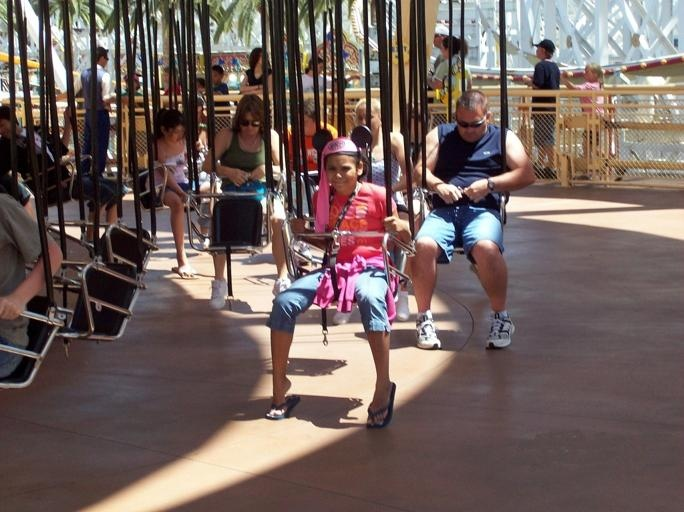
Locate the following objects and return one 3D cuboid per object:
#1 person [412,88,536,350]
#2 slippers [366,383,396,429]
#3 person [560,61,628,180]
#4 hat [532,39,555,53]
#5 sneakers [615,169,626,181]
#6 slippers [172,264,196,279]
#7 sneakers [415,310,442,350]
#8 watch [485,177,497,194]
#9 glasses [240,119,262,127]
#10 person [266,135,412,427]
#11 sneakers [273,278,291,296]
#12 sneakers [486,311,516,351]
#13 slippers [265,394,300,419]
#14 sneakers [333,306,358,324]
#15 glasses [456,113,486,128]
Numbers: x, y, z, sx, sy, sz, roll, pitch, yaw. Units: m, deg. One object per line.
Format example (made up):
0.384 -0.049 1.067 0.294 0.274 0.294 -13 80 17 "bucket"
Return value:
0.827 -0.272 3.907 0.735 1.494 0.891 1 11 12 "person"
0.170 0.696 2.789 0.080 0.242 0.050 0 -16 34 "slippers"
4.235 -2.227 10.393 0.785 1.907 0.797 0 11 4 "person"
3.346 -3.413 10.188 0.231 0.231 0.361 1 12 10 "hat"
4.570 -1.314 10.244 0.135 0.166 0.162 20 51 20 "sneakers"
-1.412 0.123 5.529 0.140 0.104 0.305 -12 16 -40 "slippers"
0.527 0.434 3.762 0.141 0.196 0.227 0 12 8 "sneakers"
0.921 -0.435 3.840 0.046 0.081 0.061 1 12 11 "watch"
-0.684 -0.985 4.641 0.164 0.057 0.080 -5 13 -15 "glasses"
-0.016 0.068 3.050 0.660 1.252 0.714 1 11 12 "person"
-0.437 0.223 4.584 0.118 0.134 0.283 -2 -7 -7 "sneakers"
0.924 0.451 3.677 0.094 0.143 0.289 -4 10 18 "sneakers"
-0.276 0.700 2.967 0.063 0.073 0.177 1 9 27 "slippers"
0.003 0.404 4.229 0.072 0.163 0.231 4 -3 25 "sneakers"
0.811 -0.834 3.893 0.173 0.068 0.100 1 12 13 "glasses"
